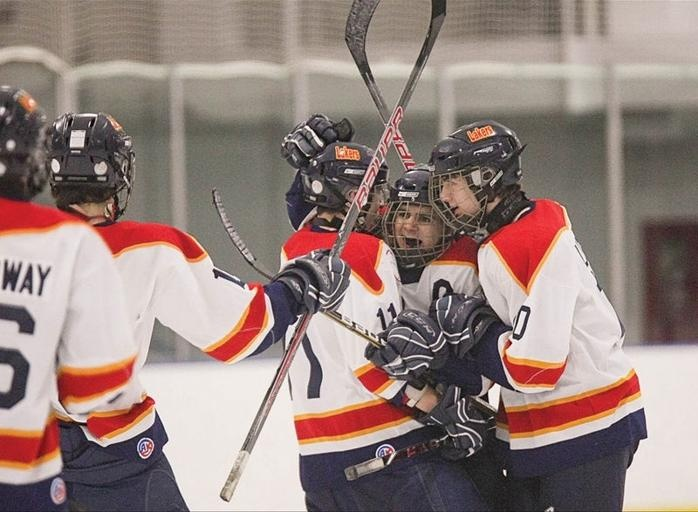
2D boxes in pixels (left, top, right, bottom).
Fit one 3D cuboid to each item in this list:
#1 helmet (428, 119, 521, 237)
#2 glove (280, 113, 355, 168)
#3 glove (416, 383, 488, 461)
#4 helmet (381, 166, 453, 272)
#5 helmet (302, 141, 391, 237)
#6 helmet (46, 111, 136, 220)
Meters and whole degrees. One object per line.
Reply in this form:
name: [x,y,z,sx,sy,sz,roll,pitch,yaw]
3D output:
helmet: [0.612,-0.406,6.465,0.483,0.454,0.381,-14,7,-5]
glove: [-0.191,-0.593,6.643,0.332,0.145,0.242,-36,30,-9]
glove: [0.500,0.775,6.313,0.343,0.333,0.146,35,9,2]
helmet: [0.295,-0.148,6.549,0.362,0.445,0.477,4,-11,0]
helmet: [-0.032,-0.338,6.581,0.503,0.432,0.386,11,6,0]
helmet: [-1.193,-0.434,6.195,0.393,0.441,0.481,1,2,7]
